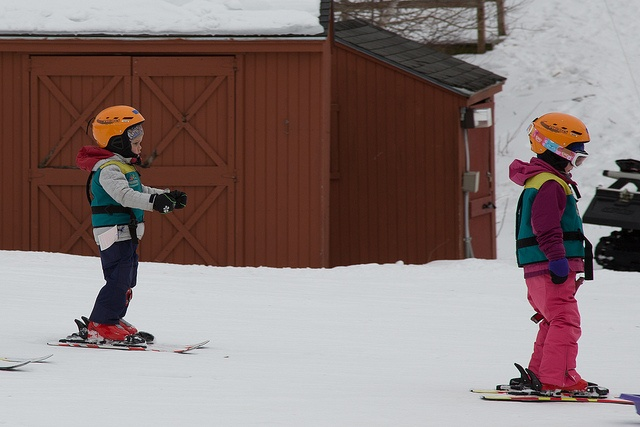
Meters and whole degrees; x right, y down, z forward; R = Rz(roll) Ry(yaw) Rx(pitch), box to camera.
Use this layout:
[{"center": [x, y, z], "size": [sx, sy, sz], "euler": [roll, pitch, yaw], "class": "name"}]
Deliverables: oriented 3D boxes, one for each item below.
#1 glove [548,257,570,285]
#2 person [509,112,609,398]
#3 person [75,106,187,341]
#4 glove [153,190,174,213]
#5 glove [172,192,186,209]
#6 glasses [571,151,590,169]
[{"center": [2.783, 0.663, 13.647], "size": [0.218, 0.297, 0.107], "euler": [1, -6, 8], "class": "glove"}, {"center": [2.728, 0.420, 13.842], "size": [0.965, 3.275, 0.486], "euler": [1, -6, 9], "class": "person"}, {"center": [-2.517, 0.109, 14.676], "size": [1.072, 2.939, 0.971], "euler": [4, -6, -21], "class": "person"}, {"center": [-1.927, -0.141, 14.421], "size": [0.269, 0.237, 0.144], "euler": [1, -5, 5], "class": "glove"}, {"center": [-1.761, -0.172, 14.588], "size": [0.179, 0.199, 0.455], "euler": [2, -4, -4], "class": "glove"}, {"center": [3.090, -0.646, 13.977], "size": [0.243, 0.102, 0.166], "euler": [3, 9, 5], "class": "glasses"}]
